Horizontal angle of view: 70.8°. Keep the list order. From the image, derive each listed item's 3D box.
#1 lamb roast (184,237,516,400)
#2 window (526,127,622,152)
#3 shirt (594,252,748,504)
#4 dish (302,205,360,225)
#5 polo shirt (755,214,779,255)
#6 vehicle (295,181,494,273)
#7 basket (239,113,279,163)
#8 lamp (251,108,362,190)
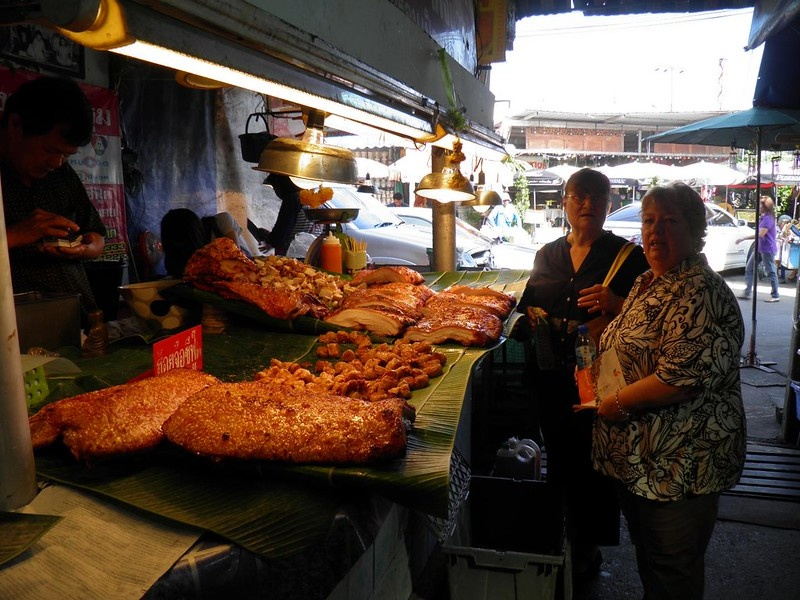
[{"bbox_3d":[-0.227,0.025,3.185,1.328,0.379,1.020,5,13,14],"label":"lamb roast"},{"bbox_3d":[6.916,-6.426,22.421,2.603,0.576,2.334,3,5,29],"label":"window"},{"bbox_3d":[1.234,0.355,2.607,0.646,1.081,0.462,3,15,31],"label":"shirt"},{"bbox_3d":[-0.580,-0.713,4.737,0.336,0.167,0.491,-2,12,12],"label":"dish"},{"bbox_3d":[7.176,-1.293,11.059,0.422,0.743,0.653,0,1,18],"label":"polo shirt"},{"bbox_3d":[-0.088,-1.124,8.507,2.861,0.865,1.209,6,9,13],"label":"vehicle"},{"bbox_3d":[-1.576,-1.810,6.245,0.568,0.516,0.536,-6,19,-18],"label":"basket"},{"bbox_3d":[-0.496,-0.812,3.091,0.431,0.268,0.400,3,11,-15],"label":"lamp"}]
